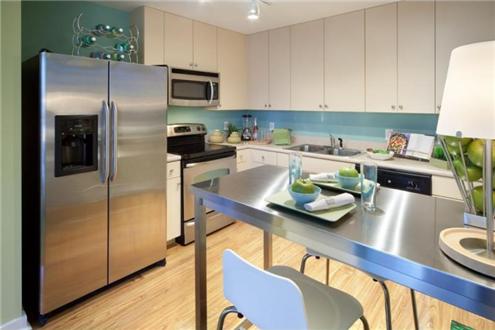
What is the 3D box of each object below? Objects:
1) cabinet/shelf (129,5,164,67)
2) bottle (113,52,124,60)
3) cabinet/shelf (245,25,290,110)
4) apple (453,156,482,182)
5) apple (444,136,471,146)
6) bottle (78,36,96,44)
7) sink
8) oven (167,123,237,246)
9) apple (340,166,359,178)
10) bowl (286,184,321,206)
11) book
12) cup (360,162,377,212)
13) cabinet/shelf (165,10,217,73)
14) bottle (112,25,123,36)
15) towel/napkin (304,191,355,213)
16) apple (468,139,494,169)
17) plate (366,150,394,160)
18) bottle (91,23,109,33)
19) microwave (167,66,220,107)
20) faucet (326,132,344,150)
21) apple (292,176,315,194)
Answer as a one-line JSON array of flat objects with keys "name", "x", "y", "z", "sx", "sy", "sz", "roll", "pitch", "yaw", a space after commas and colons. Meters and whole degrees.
[{"name": "cabinet/shelf", "x": -1.181, "y": -1.473, "z": 3.981, "sx": 0.393, "sy": 0.677, "sz": 0.423, "roll": -2, "pitch": 29, "yaw": -22}, {"name": "bottle", "x": -1.229, "y": -1.017, "z": 3.214, "sx": 0.081, "sy": 0.056, "sz": 0.138, "roll": -24, "pitch": 40, "yaw": -21}, {"name": "cabinet/shelf", "x": 0.374, "y": -1.340, "z": 4.837, "sx": 0.721, "sy": 1.088, "sz": 0.394, "roll": 6, "pitch": 11, "yaw": 34}, {"name": "apple", "x": 1.218, "y": 0.019, "z": 1.899, "sx": 0.131, "sy": 0.136, "sz": 0.135, "roll": 8, "pitch": 40, "yaw": 43}, {"name": "apple", "x": 1.151, "y": -0.134, "z": 1.872, "sx": 0.072, "sy": 0.048, "sz": 0.073, "roll": 3, "pitch": 1, "yaw": 42}, {"name": "bottle", "x": -1.471, "y": -1.147, "z": 3.100, "sx": 0.117, "sy": 0.098, "sz": 0.154, "roll": -7, "pitch": 13, "yaw": -24}, {"name": "sink", "x": 1.020, "y": -0.198, "z": 4.495, "sx": 0.975, "sy": 0.107, "sz": 0.404, "roll": 5, "pitch": 14, "yaw": 26}, {"name": "oven", "x": -0.693, "y": 0.146, "z": 4.261, "sx": 0.827, "sy": 1.301, "sz": 0.885, "roll": 10, "pitch": 14, "yaw": 39}, {"name": "apple", "x": 0.676, "y": 0.051, "z": 2.271, "sx": 0.080, "sy": 0.080, "sz": 0.082, "roll": -4, "pitch": 5, "yaw": -17}, {"name": "bowl", "x": 0.343, "y": 0.195, "z": 2.114, "sx": 0.139, "sy": 0.076, "sz": 0.145, "roll": 8, "pitch": 15, "yaw": -2}, {"name": "book", "x": 1.864, "y": -0.232, "z": 3.869, "sx": 0.107, "sy": 0.309, "sz": 0.468, "roll": 16, "pitch": 3, "yaw": -44}, {"name": "cup", "x": 0.742, "y": 0.134, "z": 2.095, "sx": 0.104, "sy": 0.319, "sz": 0.106, "roll": -3, "pitch": 6, "yaw": 0}, {"name": "cabinet/shelf", "x": -0.757, "y": -1.490, "z": 4.284, "sx": 0.676, "sy": 0.574, "sz": 0.235, "roll": -11, "pitch": 19, "yaw": -42}, {"name": "bottle", "x": -1.255, "y": -1.274, "z": 3.217, "sx": 0.089, "sy": 0.092, "sz": 0.218, "roll": -6, "pitch": 13, "yaw": -21}, {"name": "towel/napkin", "x": 0.500, "y": 0.224, "z": 2.097, "sx": 0.321, "sy": 0.089, "sz": 0.116, "roll": -8, "pitch": 4, "yaw": -18}, {"name": "apple", "x": 1.219, "y": -0.060, "z": 1.854, "sx": 0.146, "sy": 0.151, "sz": 0.145, "roll": -5, "pitch": 1, "yaw": 2}, {"name": "plate", "x": 1.522, "y": -0.124, "z": 3.914, "sx": 0.279, "sy": 0.088, "sz": 0.268, "roll": 3, "pitch": 13, "yaw": 20}, {"name": "bottle", "x": -1.374, "y": -1.260, "z": 3.135, "sx": 0.228, "sy": 0.087, "sz": 0.093, "roll": 7, "pitch": 14, "yaw": 33}, {"name": "microwave", "x": -0.738, "y": -0.989, "z": 4.317, "sx": 0.702, "sy": 0.454, "sz": 0.430, "roll": -5, "pitch": 16, "yaw": -35}, {"name": "faucet", "x": 1.173, "y": -0.310, "z": 4.533, "sx": 0.185, "sy": 0.242, "sz": 0.153, "roll": 7, "pitch": 8, "yaw": 39}, {"name": "apple", "x": 0.334, "y": 0.119, "z": 2.069, "sx": 0.096, "sy": 0.101, "sz": 0.097, "roll": 10, "pitch": 6, "yaw": 22}]
